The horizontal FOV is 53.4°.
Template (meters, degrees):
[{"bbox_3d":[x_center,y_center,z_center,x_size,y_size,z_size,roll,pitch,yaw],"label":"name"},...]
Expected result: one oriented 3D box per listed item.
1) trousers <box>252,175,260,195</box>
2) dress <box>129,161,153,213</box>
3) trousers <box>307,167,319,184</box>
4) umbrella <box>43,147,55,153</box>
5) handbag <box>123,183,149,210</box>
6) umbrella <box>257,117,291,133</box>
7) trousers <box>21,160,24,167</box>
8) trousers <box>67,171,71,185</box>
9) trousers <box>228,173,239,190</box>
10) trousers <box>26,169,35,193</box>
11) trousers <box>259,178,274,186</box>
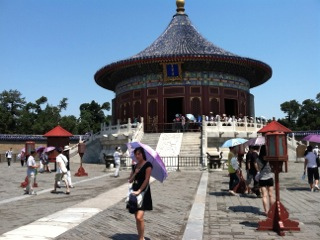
[{"bbox_3d":[3.719,2.521,12.355,0.279,0.759,0.832,0,-4,15],"label":"trousers"},{"bbox_3d":[-0.428,1.490,7.168,0.482,1.095,0.466,1,-3,-3],"label":"dress"},{"bbox_3d":[6.689,2.396,13.902,0.569,0.727,0.371,2,-4,-20],"label":"trousers"},{"bbox_3d":[-7.864,2.063,22.370,0.765,0.343,0.605,-1,-4,27],"label":"umbrella"},{"bbox_3d":[-0.520,1.724,7.171,0.488,0.764,0.411,-4,-26,22],"label":"handbag"},{"bbox_3d":[3.395,0.207,9.499,0.568,0.315,0.622,-1,-4,1],"label":"umbrella"},{"bbox_3d":[-12.676,3.921,29.191,0.178,0.553,0.646,2,-4,-30],"label":"trousers"},{"bbox_3d":[-4.155,2.619,14.473,0.173,0.620,0.675,1,-4,-16],"label":"trousers"},{"bbox_3d":[2.909,2.412,12.552,0.362,0.685,0.438,0,-3,13],"label":"trousers"},{"bbox_3d":[-5.279,2.455,12.931,0.311,0.934,0.412,2,-4,-26],"label":"trousers"},{"bbox_3d":[3.046,1.769,9.131,0.405,0.238,0.280,0,-3,11],"label":"trousers"}]
